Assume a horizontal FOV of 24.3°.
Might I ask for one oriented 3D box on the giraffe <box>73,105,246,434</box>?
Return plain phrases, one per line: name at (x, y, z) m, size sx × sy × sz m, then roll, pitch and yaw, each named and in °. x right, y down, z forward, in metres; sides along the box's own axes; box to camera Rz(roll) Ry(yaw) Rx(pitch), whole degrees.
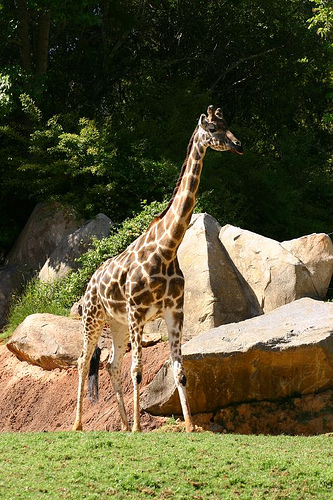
giraffe at (-0.359, 0.282, 9.875) m, size 1.880 × 3.971 × 4.618 m, roll -4°, pitch 8°, yaw -8°
